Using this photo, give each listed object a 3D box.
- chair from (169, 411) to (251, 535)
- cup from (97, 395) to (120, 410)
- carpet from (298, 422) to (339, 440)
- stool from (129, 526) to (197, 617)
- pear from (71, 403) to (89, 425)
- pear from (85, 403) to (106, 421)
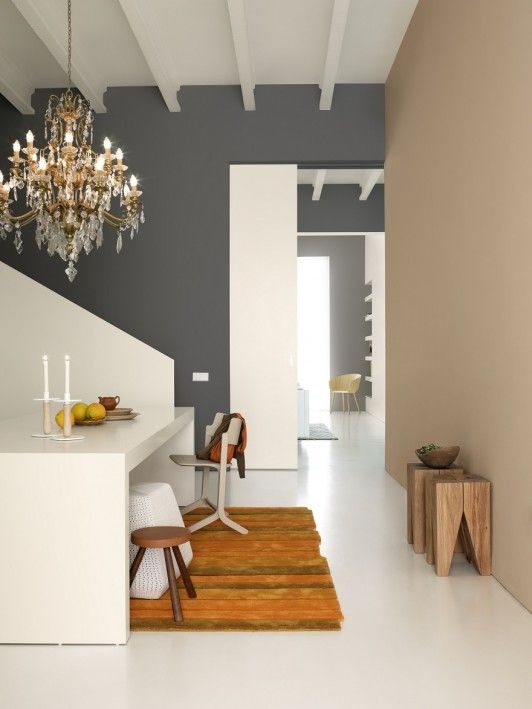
[{"bbox_3d":[-0.350,0.678,3.569,0.525,1.094,0.632,3,-4,-12],"label":"chair"},{"bbox_3d":[-0.910,0.275,3.265,0.153,0.133,0.128,1,-6,-19],"label":"cup"},{"bbox_3d":[0.725,1.048,7.789,0.509,0.142,1.444,0,-1,6],"label":"carpet"},{"bbox_3d":[-0.405,0.829,2.206,0.248,0.356,0.284,-6,-13,18],"label":"stool"},{"bbox_3d":[-0.947,0.299,2.827,0.063,0.086,0.100,6,22,-4],"label":"pear"},{"bbox_3d":[-0.887,0.288,2.901,0.066,0.090,0.101,0,7,0],"label":"pear"}]
